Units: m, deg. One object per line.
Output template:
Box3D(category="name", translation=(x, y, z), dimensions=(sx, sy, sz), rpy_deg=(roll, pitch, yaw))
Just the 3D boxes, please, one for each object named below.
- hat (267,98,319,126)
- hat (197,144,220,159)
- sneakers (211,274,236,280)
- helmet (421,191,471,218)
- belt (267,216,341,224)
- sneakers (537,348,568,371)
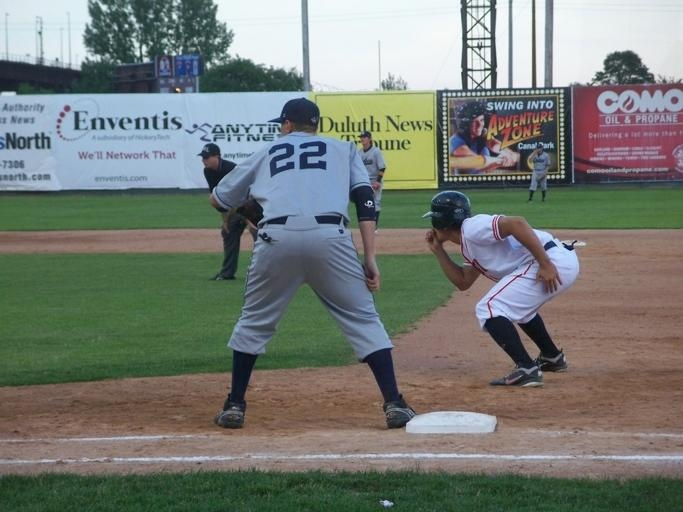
Box3D(category="hat", translation=(-0.634, -2.048, 19.429), dimensions=(0.571, 0.270, 0.353), rpy_deg=(5, 9, 11))
Box3D(category="hat", translation=(-2.327, -1.849, 24.146), dimensions=(0.381, 0.199, 0.256), rpy_deg=(0, 11, -11))
Box3D(category="sneakers", translation=(-2.143, 0.370, 24.982), dimensions=(0.435, 0.168, 0.150), rpy_deg=(3, 10, 1))
Box3D(category="helmet", translation=(1.560, -0.755, 20.092), dimensions=(0.585, 0.278, 0.395), rpy_deg=(0, 2, 3))
Box3D(category="belt", translation=(-0.496, -0.509, 19.061), dimensions=(1.001, 0.127, 0.106), rpy_deg=(-1, 9, -3))
Box3D(category="sneakers", translation=(3.113, 1.565, 20.453), dimensions=(0.502, 0.208, 0.234), rpy_deg=(1, 3, 5))
